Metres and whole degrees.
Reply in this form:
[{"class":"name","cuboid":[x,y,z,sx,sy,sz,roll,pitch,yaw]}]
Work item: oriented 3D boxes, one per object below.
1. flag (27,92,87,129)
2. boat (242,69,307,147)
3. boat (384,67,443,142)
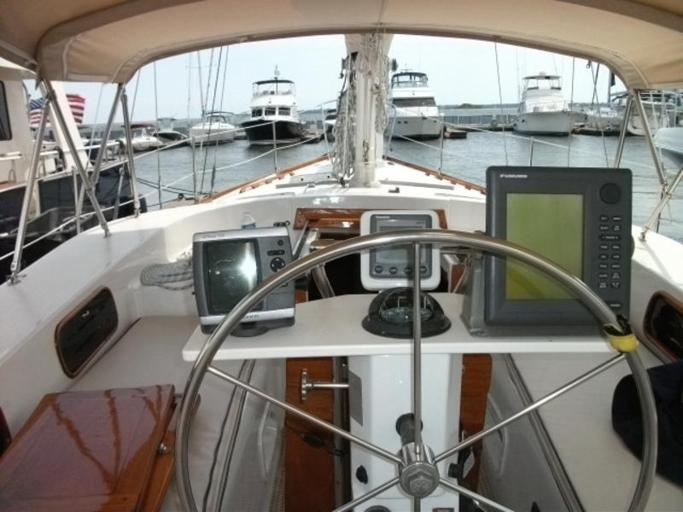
[{"class":"flag","cuboid":[-4.204,-2.183,7.165,0.812,0.589,0.074,-3,3,-7]},{"class":"boat","cuboid":[-2.489,-5.364,17.726,1.914,2.699,2.242,0,17,3]},{"class":"boat","cuboid":[2.320,-4.665,15.061,1.574,2.389,6.490,2,18,7]}]
